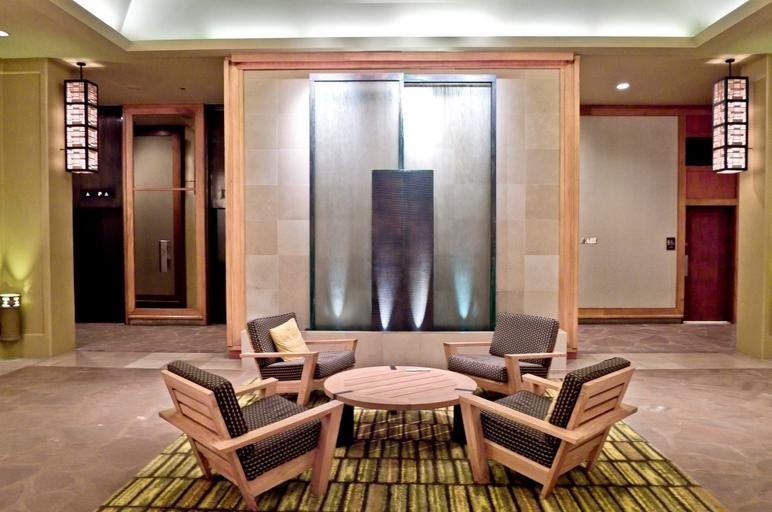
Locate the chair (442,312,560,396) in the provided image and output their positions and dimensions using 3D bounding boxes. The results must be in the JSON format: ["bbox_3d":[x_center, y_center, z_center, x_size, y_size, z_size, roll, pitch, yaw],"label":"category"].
[{"bbox_3d":[1.591,1.387,7.187,1.158,1.013,1.387,-2,1,-29],"label":"chair"}]

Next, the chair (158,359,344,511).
[{"bbox_3d":[-1.378,1.792,5.846,1.587,1.599,1.789,7,10,43],"label":"chair"}]

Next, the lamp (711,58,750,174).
[{"bbox_3d":[5.653,-2.145,8.573,0.463,1.505,0.308,0,5,21],"label":"lamp"}]

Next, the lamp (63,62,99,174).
[{"bbox_3d":[-5.121,-2.181,8.733,0.520,1.531,0.280,-4,6,-29],"label":"lamp"}]

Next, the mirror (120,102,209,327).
[{"bbox_3d":[-4.672,-0.799,11.044,1.887,4.232,0.228,0,2,10],"label":"mirror"}]

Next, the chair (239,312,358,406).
[{"bbox_3d":[-1.172,1.395,7.215,1.246,0.994,1.514,-2,-1,12],"label":"chair"}]

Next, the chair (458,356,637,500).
[{"bbox_3d":[1.827,1.809,5.809,1.564,1.331,1.582,-5,3,-37],"label":"chair"}]
